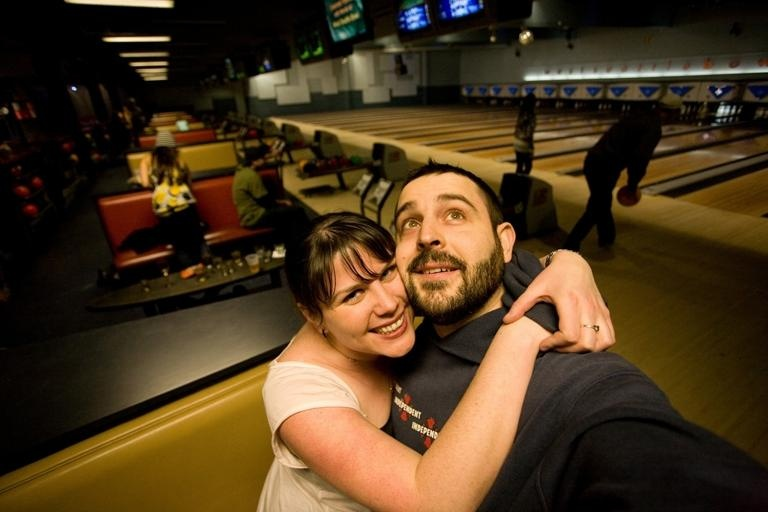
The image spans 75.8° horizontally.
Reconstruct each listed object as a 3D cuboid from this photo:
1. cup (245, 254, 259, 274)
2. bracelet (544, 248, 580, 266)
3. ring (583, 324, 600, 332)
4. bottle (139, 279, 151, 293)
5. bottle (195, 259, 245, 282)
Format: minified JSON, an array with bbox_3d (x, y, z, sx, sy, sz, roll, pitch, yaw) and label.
[{"bbox_3d":[-1.404,0.092,5.396,0.179,0.203,0.185,-3,-3,0],"label":"cup"},{"bbox_3d":[1.280,0.049,3.582,0.243,0.099,0.188,-2,47,30],"label":"bracelet"},{"bbox_3d":[1.380,0.470,3.257,0.074,0.030,0.057,4,0,17],"label":"ring"},{"bbox_3d":[-2.470,0.314,5.107,0.117,0.187,0.122,-1,11,0],"label":"bottle"},{"bbox_3d":[-1.763,0.187,5.369,0.269,0.066,0.288,-15,15,4],"label":"bottle"}]
